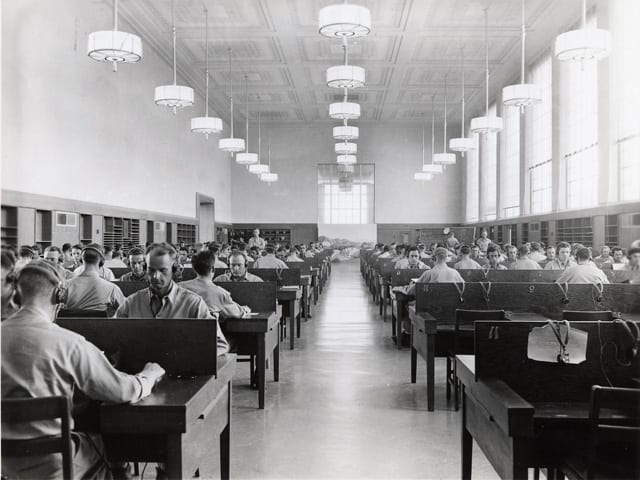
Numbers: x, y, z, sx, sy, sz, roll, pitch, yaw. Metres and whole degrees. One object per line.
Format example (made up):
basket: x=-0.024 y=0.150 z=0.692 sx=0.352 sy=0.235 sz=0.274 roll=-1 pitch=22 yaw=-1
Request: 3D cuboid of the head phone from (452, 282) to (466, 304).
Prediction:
head phone: x=1.657 y=0.614 z=7.288 sx=0.167 sy=0.219 sz=0.060 roll=-2 pitch=-2 yaw=-20

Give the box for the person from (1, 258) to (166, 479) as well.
person: x=-1.513 y=0.851 z=3.766 sx=0.822 sy=1.465 sz=0.445 roll=-1 pitch=-1 yaw=-22

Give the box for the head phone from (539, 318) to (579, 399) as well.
head phone: x=1.710 y=0.862 z=4.319 sx=0.472 sy=0.572 sz=0.094 roll=-1 pitch=-1 yaw=-6

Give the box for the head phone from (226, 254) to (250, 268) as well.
head phone: x=-0.998 y=0.291 z=7.405 sx=0.225 sy=0.287 sz=0.233 roll=2 pitch=8 yaw=-1

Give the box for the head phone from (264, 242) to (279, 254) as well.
head phone: x=-0.909 y=0.146 z=11.630 sx=0.268 sy=0.197 sz=0.231 roll=1 pitch=-1 yaw=-15
